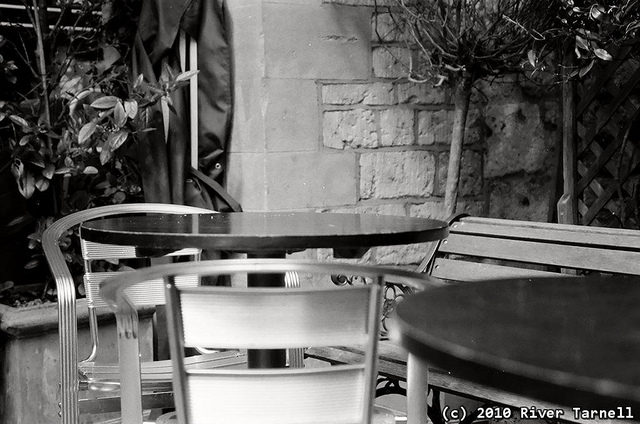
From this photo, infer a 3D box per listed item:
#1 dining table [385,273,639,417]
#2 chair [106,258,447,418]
[{"bbox_3d":[0.581,0.339,2.137,0.633,0.219,0.679,3,8,29],"label":"dining table"},{"bbox_3d":[-0.188,0.420,2.718,0.856,0.635,0.946,0,-4,2],"label":"chair"}]
